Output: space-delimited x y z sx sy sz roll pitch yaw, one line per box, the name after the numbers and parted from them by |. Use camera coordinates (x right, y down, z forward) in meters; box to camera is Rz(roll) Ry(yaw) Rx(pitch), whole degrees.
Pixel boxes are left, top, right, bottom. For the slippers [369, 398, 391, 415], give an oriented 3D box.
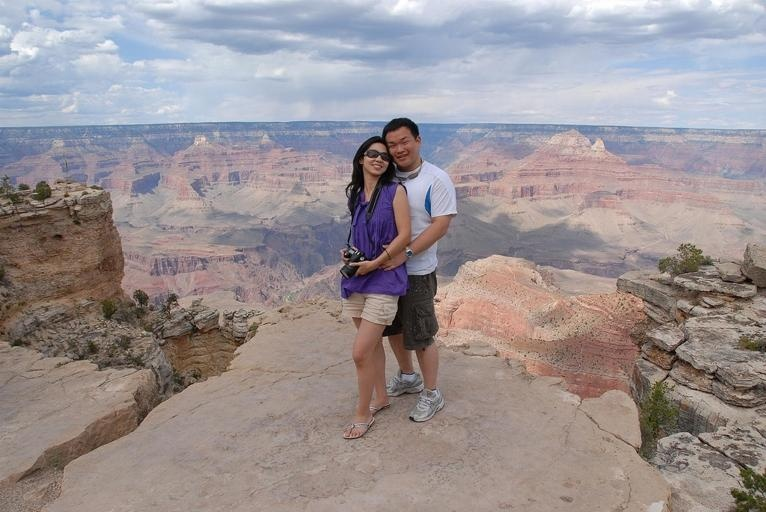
-0.061 2.301 6.742 0.352 0.127 0.150 8 -18 -35 | slippers

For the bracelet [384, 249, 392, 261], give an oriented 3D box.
0.058 -0.020 5.927 0.092 0.148 0.056 3 19 16 | bracelet

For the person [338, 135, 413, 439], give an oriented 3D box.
-0.098 0.480 6.228 0.991 4.120 1.149 -2 19 3 | person

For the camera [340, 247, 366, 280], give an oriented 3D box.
-0.443 0.100 6.041 0.255 0.407 0.391 21 -16 -23 | camera

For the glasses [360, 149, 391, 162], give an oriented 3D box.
-0.078 -1.332 5.992 0.354 0.163 0.140 -2 18 -1 | glasses
